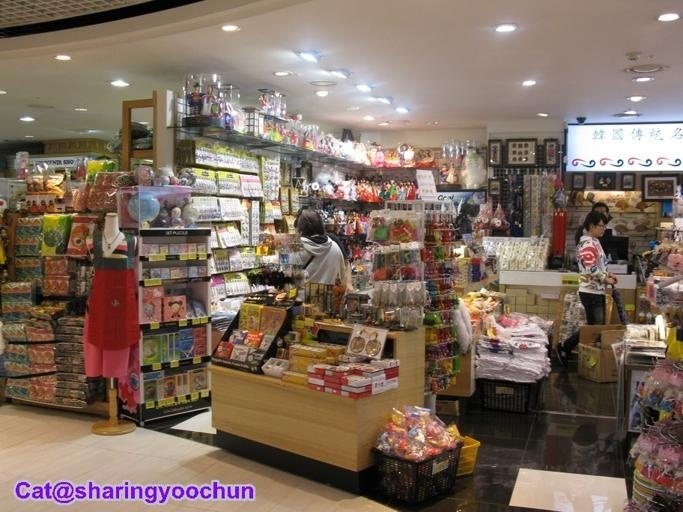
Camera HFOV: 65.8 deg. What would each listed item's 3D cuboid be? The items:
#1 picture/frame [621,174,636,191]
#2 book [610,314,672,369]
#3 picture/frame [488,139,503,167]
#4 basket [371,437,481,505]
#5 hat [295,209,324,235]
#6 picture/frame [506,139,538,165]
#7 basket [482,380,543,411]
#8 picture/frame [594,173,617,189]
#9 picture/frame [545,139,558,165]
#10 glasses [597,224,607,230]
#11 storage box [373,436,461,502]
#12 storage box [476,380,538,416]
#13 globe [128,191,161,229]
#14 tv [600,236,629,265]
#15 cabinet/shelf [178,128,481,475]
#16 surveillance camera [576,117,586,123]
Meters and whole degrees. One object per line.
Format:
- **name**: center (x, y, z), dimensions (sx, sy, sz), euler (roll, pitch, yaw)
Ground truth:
- **picture/frame**: center (5.752, -1.502, 10.653), dimensions (0.332, 0.418, 0.051), euler (0, 9, 5)
- **book**: center (2.758, 0.831, 4.948), dimensions (0.424, 0.397, 1.065), euler (2, 4, 28)
- **picture/frame**: center (3.072, -2.084, 10.603), dimensions (0.283, 0.497, 0.110), euler (1, 3, 15)
- **basket**: center (0.670, 1.627, 4.012), dimensions (0.424, 0.262, 0.662), euler (2, 4, 40)
- **hat**: center (-0.377, -0.429, 6.783), dimensions (0.297, 0.372, 0.393), euler (-1, 6, 0)
- **picture/frame**: center (3.580, -2.093, 10.508), dimensions (0.563, 0.475, 0.057), euler (0, 8, 3)
- **basket**: center (1.784, 1.499, 5.599), dimensions (0.527, 0.240, 0.338), euler (2, -3, 1)
- **picture/frame**: center (5.320, -1.520, 10.682), dimensions (0.355, 0.272, 0.029), euler (2, 19, 7)
- **picture/frame**: center (4.150, -2.046, 10.459), dimensions (0.315, 0.521, 0.118), euler (0, 3, -2)
- **glasses**: center (3.489, -0.379, 7.148), dimensions (0.097, 0.092, 0.029), euler (3, 1, -18)
- **storage box**: center (0.556, 1.603, 3.925), dimensions (0.370, 0.264, 0.550), euler (2, 2, 44)
- **storage box**: center (1.752, 1.497, 5.608), dimensions (0.528, 0.222, 0.341), euler (1, -2, 14)
- **globe**: center (-1.974, -0.464, 5.349), dimensions (0.322, 0.356, 0.329), euler (9, 11, 39)
- **tv**: center (4.770, -0.079, 9.311), dimensions (0.556, 0.514, 0.280), euler (1, -4, 21)
- **cabinet/shelf**: center (-0.687, 0.051, 5.306), dimensions (1.480, 3.035, 3.515), euler (-2, 4, -31)
- **surveillance camera**: center (4.559, -2.614, 10.122), dimensions (0.127, 0.078, 0.122), euler (1, 0, -2)
